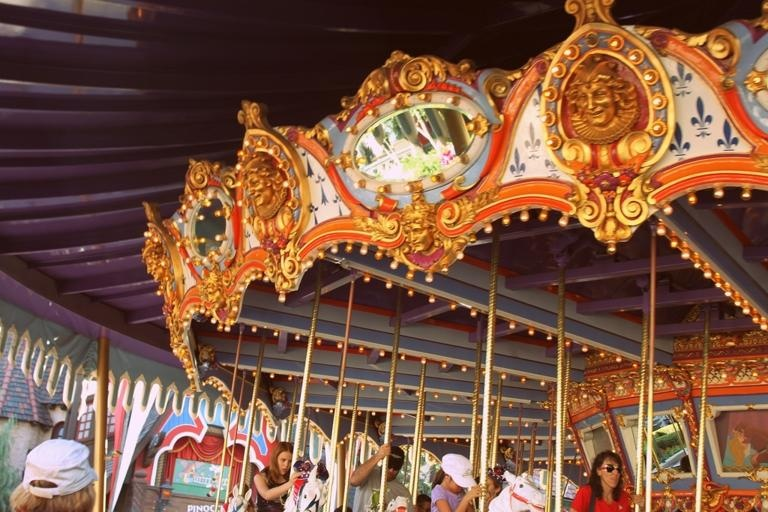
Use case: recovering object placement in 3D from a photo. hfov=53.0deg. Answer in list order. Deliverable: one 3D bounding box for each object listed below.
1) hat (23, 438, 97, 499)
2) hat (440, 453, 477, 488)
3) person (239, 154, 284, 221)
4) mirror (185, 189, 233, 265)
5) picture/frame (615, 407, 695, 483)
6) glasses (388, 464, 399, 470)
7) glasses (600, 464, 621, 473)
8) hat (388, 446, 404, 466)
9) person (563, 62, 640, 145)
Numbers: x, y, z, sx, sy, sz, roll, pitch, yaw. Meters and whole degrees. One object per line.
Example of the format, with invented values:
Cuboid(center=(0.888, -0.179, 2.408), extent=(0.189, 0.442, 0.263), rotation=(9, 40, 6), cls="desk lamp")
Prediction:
Cuboid(center=(-2.297, 1.497, 5.501), extent=(0.452, 0.300, 0.579), rotation=(2, 2, 7), cls="hat")
Cuboid(center=(0.822, 2.357, 8.393), extent=(0.424, 0.228, 0.601), rotation=(7, -4, -32), cls="hat")
Cuboid(center=(-1.285, -0.739, 8.207), extent=(0.247, 0.722, 0.578), rotation=(-6, -10, -44), cls="person")
Cuboid(center=(-2.008, -0.375, 8.997), extent=(0.276, 0.811, 0.794), rotation=(0, 31, -40), cls="mirror")
Cuboid(center=(4.020, 2.818, 11.497), extent=(0.993, 0.944, 0.436), rotation=(-17, -35, 34), cls="picture/frame")
Cuboid(center=(0.105, 2.511, 9.048), extent=(0.103, 0.055, 0.105), rotation=(9, 4, 5), cls="glasses")
Cuboid(center=(2.380, 2.260, 8.153), extent=(0.181, 0.078, 0.094), rotation=(0, -29, 6), cls="glasses")
Cuboid(center=(0.130, 2.317, 8.903), extent=(0.248, 0.300, 0.323), rotation=(1, -15, 3), cls="hat")
Cuboid(center=(1.888, -1.324, 6.645), extent=(0.602, 0.732, 0.235), rotation=(-12, 4, 33), cls="person")
